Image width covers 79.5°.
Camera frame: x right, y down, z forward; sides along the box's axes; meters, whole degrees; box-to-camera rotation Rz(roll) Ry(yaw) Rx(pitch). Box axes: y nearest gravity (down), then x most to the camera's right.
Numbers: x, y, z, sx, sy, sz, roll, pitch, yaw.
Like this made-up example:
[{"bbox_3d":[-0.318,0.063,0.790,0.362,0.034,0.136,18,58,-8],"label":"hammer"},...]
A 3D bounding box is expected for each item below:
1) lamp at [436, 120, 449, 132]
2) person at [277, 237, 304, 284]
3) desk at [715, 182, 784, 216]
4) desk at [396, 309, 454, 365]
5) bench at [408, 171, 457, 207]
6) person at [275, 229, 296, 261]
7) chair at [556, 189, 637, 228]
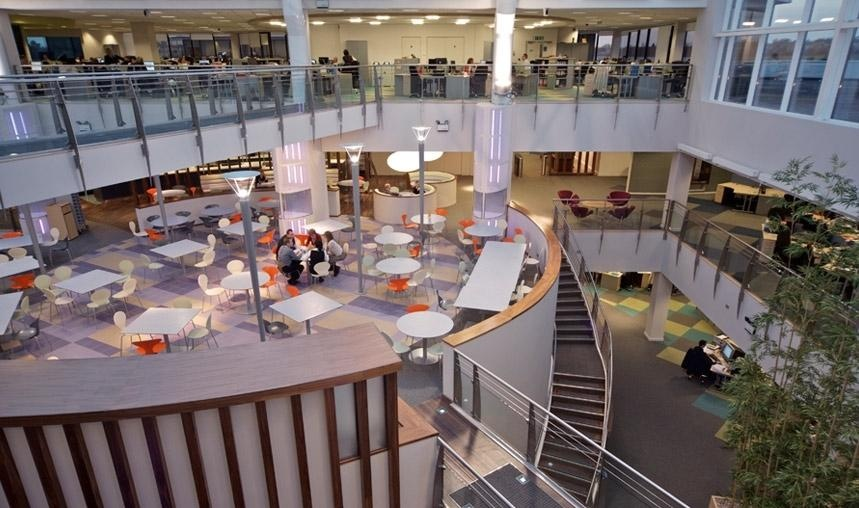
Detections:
[{"bbox_3d":[0.506,-5.222,20.837,0.512,0.361,0.151,0,24,0],"label":"lamp"},{"bbox_3d":[-4.519,0.136,16.967,0.958,1.436,0.649,-9,26,-21],"label":"person"},{"bbox_3d":[14.672,-2.701,23.995,1.358,1.391,2.331,-9,21,-15],"label":"desk"},{"bbox_3d":[-0.113,2.290,13.309,1.523,0.912,1.426,-17,34,-26],"label":"desk"},{"bbox_3d":[0.153,-2.941,23.599,2.709,1.009,2.447,1,25,3],"label":"bench"},{"bbox_3d":[-4.803,-0.308,17.267,0.742,1.131,0.754,10,37,-2],"label":"person"},{"bbox_3d":[6.660,-1.798,20.714,2.288,0.833,1.506,2,28,7],"label":"chair"}]
